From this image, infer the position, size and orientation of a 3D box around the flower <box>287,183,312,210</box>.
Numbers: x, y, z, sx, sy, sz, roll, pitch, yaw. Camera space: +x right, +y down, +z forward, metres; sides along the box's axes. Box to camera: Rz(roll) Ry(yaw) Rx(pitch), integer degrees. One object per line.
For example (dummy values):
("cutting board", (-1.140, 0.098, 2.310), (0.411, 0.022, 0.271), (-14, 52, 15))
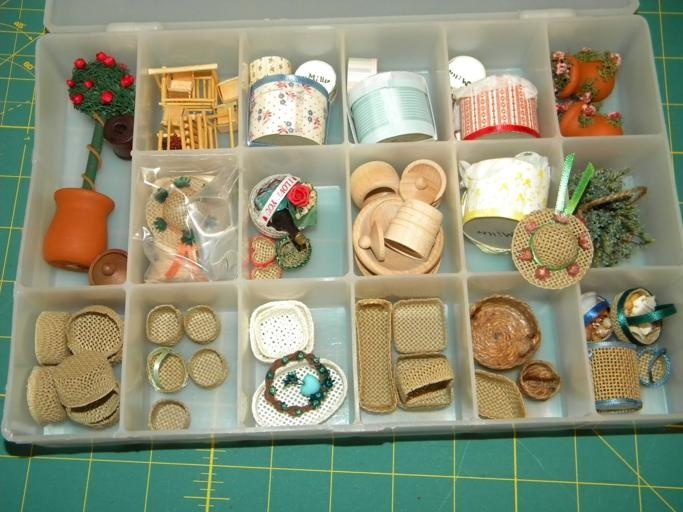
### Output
("flower", (-0.195, -0.271, 2.678), (0.087, 0.047, 0.109), (-6, 86, -5))

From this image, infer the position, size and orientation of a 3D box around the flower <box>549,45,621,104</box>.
("flower", (1.194, -0.878, 2.881), (0.323, 0.164, 0.236), (-1, 99, -5))
